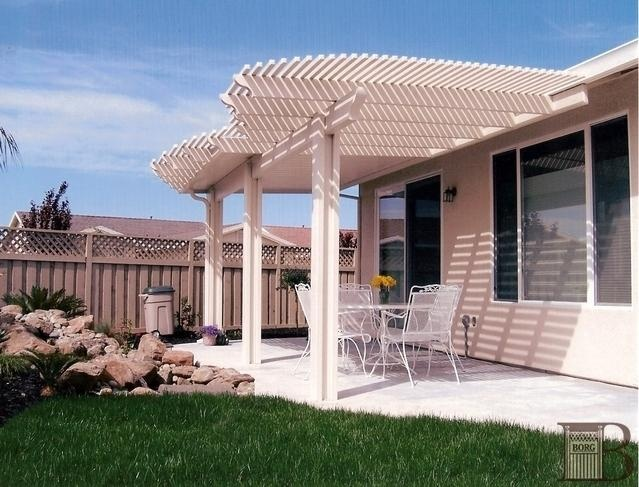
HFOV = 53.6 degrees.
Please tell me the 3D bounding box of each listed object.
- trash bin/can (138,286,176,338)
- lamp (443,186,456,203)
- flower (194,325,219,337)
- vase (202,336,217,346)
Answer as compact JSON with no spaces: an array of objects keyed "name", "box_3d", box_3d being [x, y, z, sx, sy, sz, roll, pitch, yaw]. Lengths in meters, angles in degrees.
[{"name":"trash bin/can","box_3d":[-2.686,1.115,10.646,0.718,1.024,0.539,-1,0,-28]},{"name":"lamp","box_3d":[2.029,-0.760,9.832,0.189,0.327,0.209,3,-2,-28]},{"name":"flower","box_3d":[-1.896,1.509,10.867,0.372,0.183,0.163,1,5,-10]},{"name":"vase","box_3d":[-1.882,1.660,10.853,0.168,0.142,0.185,0,-7,0]}]
